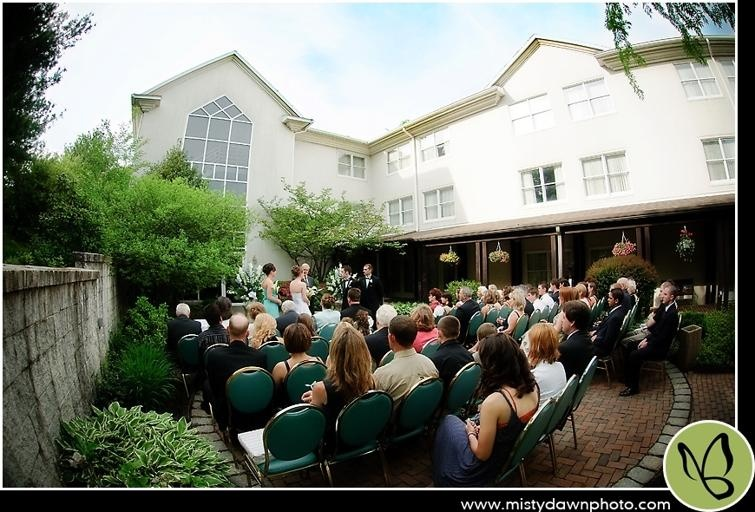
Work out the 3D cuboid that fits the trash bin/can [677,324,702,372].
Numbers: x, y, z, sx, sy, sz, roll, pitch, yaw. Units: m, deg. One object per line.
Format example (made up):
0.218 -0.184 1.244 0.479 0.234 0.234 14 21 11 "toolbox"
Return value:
5.324 1.568 7.765 0.359 0.584 0.372 -2 -2 33 "trash bin/can"
